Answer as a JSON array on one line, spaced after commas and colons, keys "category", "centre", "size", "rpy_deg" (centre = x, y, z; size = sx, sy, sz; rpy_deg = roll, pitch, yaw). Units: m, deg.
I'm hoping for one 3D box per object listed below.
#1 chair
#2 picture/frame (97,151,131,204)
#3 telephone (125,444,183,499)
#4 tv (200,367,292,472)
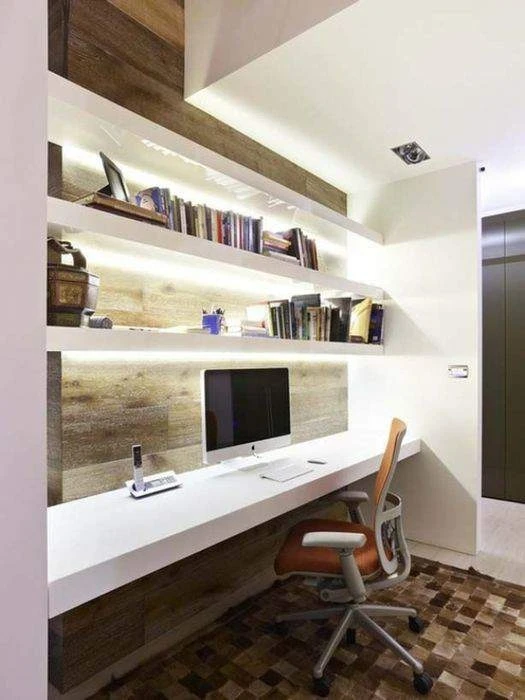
[{"category": "chair", "centre": [0.257, 0.782, 2.361], "size": [0.866, 1.227, 0.865], "rpy_deg": [1, -2, 11]}, {"category": "picture/frame", "centre": [-0.541, -0.627, 1.864], "size": [0.108, 0.203, 0.282], "rpy_deg": [0, 0, -18]}, {"category": "telephone", "centre": [-0.432, 0.454, 2.010], "size": [0.240, 0.162, 0.172], "rpy_deg": [-6, 5, -40]}, {"category": "tv", "centre": [-0.092, 0.328, 2.399], "size": [0.050, 0.357, 0.497], "rpy_deg": [-2, -1, 39]}]
